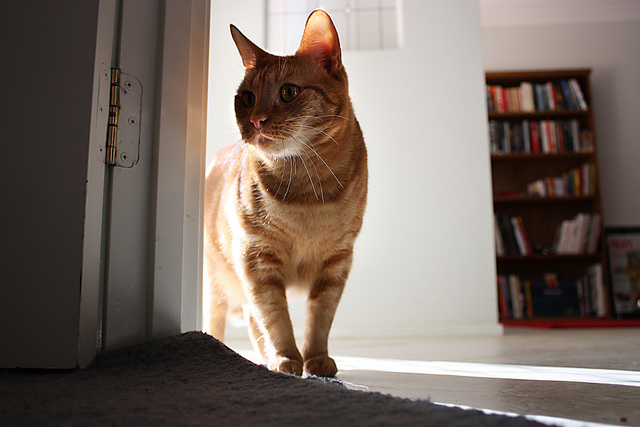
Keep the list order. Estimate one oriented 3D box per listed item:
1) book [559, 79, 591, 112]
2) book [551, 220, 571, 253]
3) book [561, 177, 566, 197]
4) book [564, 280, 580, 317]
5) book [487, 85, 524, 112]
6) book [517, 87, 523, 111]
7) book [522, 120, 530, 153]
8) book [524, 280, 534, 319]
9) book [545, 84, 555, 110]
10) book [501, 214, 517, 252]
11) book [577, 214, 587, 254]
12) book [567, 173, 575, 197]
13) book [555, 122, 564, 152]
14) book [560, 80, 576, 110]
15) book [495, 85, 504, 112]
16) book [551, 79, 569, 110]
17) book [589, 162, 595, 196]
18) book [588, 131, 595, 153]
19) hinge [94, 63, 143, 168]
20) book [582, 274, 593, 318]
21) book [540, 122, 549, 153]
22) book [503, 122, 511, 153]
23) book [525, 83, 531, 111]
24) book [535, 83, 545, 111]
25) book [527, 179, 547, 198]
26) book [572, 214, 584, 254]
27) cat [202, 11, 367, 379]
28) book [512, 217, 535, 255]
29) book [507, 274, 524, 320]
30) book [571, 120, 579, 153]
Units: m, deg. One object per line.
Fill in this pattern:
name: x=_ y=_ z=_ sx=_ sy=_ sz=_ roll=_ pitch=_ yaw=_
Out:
book: x=1.628 y=-0.751 z=3.678 sx=0.049 sy=0.197 sz=0.179 roll=-20 pitch=4 yaw=-25
book: x=1.540 y=0.144 z=3.683 sx=0.114 sy=0.210 sz=0.231 roll=0 pitch=-4 yaw=22
book: x=1.546 y=-0.177 z=3.657 sx=0.024 sy=0.111 sz=0.029 roll=-2 pitch=-5 yaw=32
book: x=1.556 y=0.526 z=3.558 sx=0.122 sy=0.173 sz=0.041 roll=-1 pitch=-2 yaw=17
book: x=1.166 y=-0.749 z=3.702 sx=0.104 sy=0.181 sz=0.186 roll=-13 pitch=18 yaw=-25
book: x=1.270 y=-0.731 z=3.654 sx=0.030 sy=0.149 sz=0.022 roll=-2 pitch=-5 yaw=34
book: x=1.311 y=-0.489 z=3.658 sx=0.045 sy=0.204 sz=0.024 roll=2 pitch=-5 yaw=-12
book: x=1.282 y=0.523 z=3.530 sx=0.053 sy=0.220 sz=0.090 roll=0 pitch=-5 yaw=20
book: x=1.466 y=-0.743 z=3.668 sx=0.035 sy=0.184 sz=0.030 roll=-5 pitch=-9 yaw=8
book: x=1.170 y=0.114 z=3.616 sx=0.053 sy=0.261 sz=0.051 roll=-1 pitch=-17 yaw=-38
book: x=1.620 y=0.126 z=3.564 sx=0.033 sy=0.302 sz=0.034 roll=5 pitch=3 yaw=-27
book: x=1.594 y=-0.194 z=3.662 sx=0.036 sy=0.135 sz=0.021 roll=-1 pitch=-5 yaw=25
book: x=1.522 y=-0.490 z=3.659 sx=0.056 sy=0.189 sz=0.019 roll=2 pitch=-5 yaw=-15
book: x=1.581 y=-0.762 z=3.679 sx=0.079 sy=0.187 sz=0.023 roll=0 pitch=-5 yaw=22
book: x=1.134 y=-0.725 z=3.640 sx=0.052 sy=0.172 sz=0.041 roll=1 pitch=-5 yaw=2
book: x=1.540 y=-0.768 z=3.714 sx=0.037 sy=0.165 sz=0.161 roll=-14 pitch=-5 yaw=14
book: x=1.716 y=-0.219 z=3.634 sx=0.031 sy=0.204 sz=0.025 roll=-1 pitch=-5 yaw=26
book: x=1.703 y=-0.452 z=3.616 sx=0.032 sy=0.141 sz=0.044 roll=0 pitch=-5 yaw=19
hinge: x=-0.517 y=-0.248 z=1.489 sx=0.024 sy=0.251 sz=0.136 roll=-1 pitch=-5 yaw=31
book: x=1.630 y=0.504 z=3.514 sx=0.046 sy=0.186 sz=0.130 roll=-1 pitch=0 yaw=15
book: x=1.427 y=-0.490 z=3.662 sx=0.051 sy=0.185 sz=0.021 roll=0 pitch=-5 yaw=18
book: x=1.193 y=-0.486 z=3.667 sx=0.054 sy=0.193 sz=0.022 roll=3 pitch=-5 yaw=-20
book: x=1.318 y=-0.743 z=3.651 sx=0.034 sy=0.171 sz=0.009 roll=0 pitch=-5 yaw=12
book: x=1.402 y=-0.741 z=3.672 sx=0.047 sy=0.184 sz=0.055 roll=5 pitch=-6 yaw=-37
book: x=1.381 y=-0.155 z=3.659 sx=0.050 sy=0.080 sz=0.084 roll=16 pitch=-33 yaw=-40
book: x=1.599 y=0.127 z=3.563 sx=0.040 sy=0.184 sz=0.179 roll=1 pitch=10 yaw=13
cat: x=-0.130 y=-0.087 z=1.987 sx=0.685 sy=1.145 sz=0.392 roll=-3 pitch=-6 yaw=43
book: x=1.260 y=0.136 z=3.590 sx=0.045 sy=0.206 sz=0.202 roll=-13 pitch=-5 yaw=23
book: x=1.193 y=0.509 z=3.509 sx=0.091 sy=0.260 sz=0.081 roll=0 pitch=-5 yaw=10
book: x=1.618 y=-0.491 z=3.653 sx=0.036 sy=0.207 sz=0.036 roll=4 pitch=-5 yaw=-31
